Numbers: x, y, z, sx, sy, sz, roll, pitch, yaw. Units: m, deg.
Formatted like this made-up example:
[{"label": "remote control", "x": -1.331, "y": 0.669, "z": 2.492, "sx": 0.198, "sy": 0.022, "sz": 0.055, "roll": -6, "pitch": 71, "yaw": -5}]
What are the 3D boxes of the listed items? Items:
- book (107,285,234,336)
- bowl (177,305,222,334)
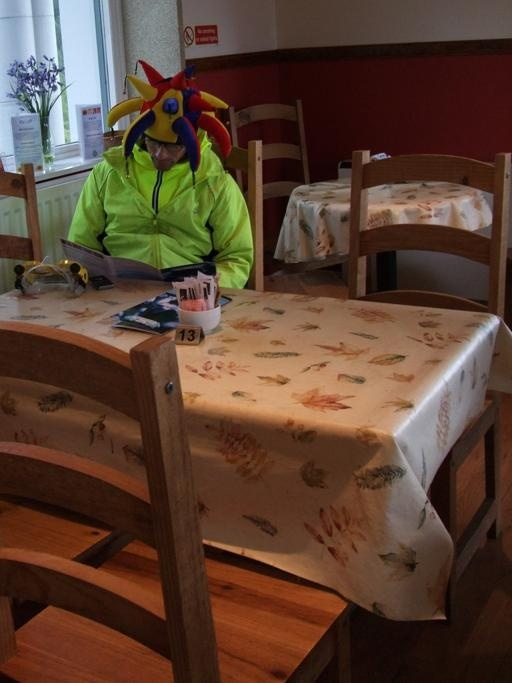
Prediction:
[{"label": "book", "x": -0.206, "y": -0.061, "z": 1.203, "sx": 0.117, "sy": 0.014, "sz": 0.135, "roll": 9, "pitch": 32, "yaw": 28}, {"label": "bowl", "x": -0.116, "y": -0.046, "z": 1.126, "sx": 0.058, "sy": 0.039, "sz": 0.062, "roll": -1, "pitch": 8, "yaw": 0}]
